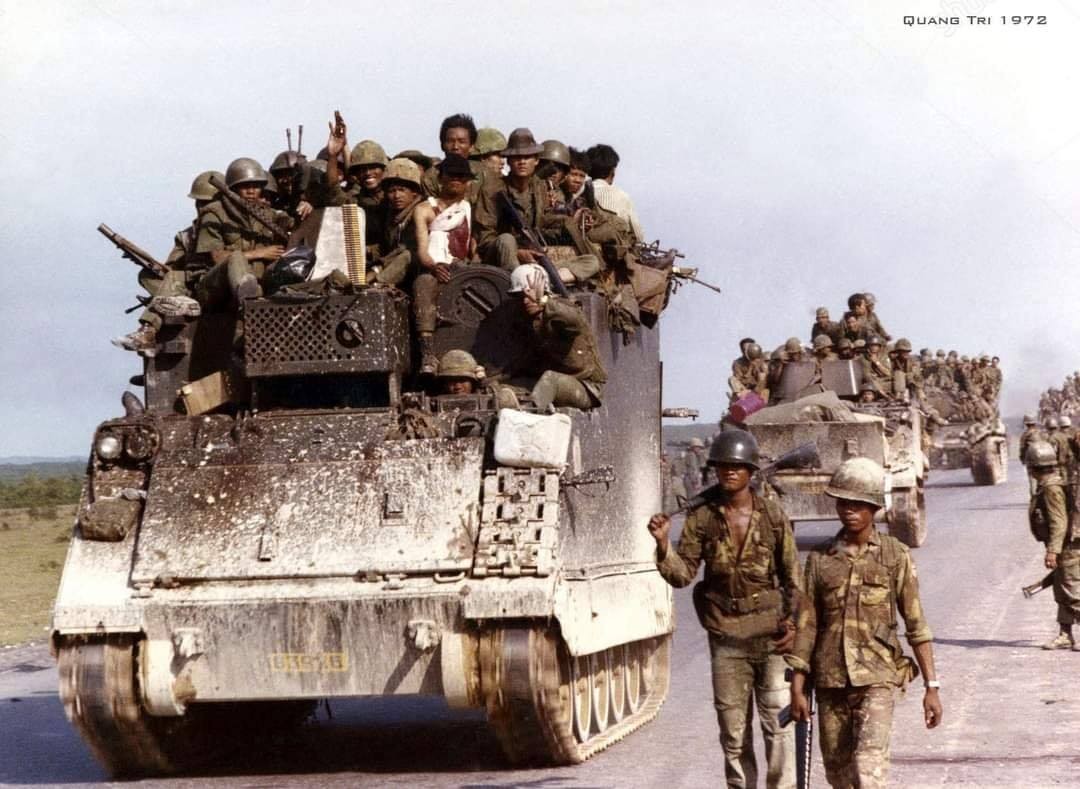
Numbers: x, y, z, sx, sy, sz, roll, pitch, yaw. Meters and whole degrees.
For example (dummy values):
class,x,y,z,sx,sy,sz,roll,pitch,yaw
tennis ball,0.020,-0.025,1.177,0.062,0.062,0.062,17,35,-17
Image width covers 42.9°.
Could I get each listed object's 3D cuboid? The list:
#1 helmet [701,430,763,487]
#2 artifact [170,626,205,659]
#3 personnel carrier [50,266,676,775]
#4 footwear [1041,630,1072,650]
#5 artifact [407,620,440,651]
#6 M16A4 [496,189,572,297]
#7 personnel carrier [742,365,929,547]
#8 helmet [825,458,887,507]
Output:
class,x,y,z,sx,sy,sz,roll,pitch,yaw
helmet,1.248,0.402,8.810,0.232,0.270,0.309,2,-18,35
artifact,-2.499,1.770,9.822,0.186,0.220,0.183,2,-6,-19
personnel carrier,-1.268,1.272,12.185,3.176,3.019,4.969,-2,-8,9
footwear,5.716,2.706,15.154,0.397,0.213,0.170,-2,-2,-5
artifact,-0.812,1.702,9.669,0.223,0.196,0.130,-2,0,-13
M16A4,-0.066,-1.278,11.915,0.163,1.013,0.375,-23,-8,-14
personnel carrier,5.461,1.061,24.498,2.636,2.793,4.895,0,4,19
helmet,1.988,0.555,8.568,0.498,0.296,0.389,6,1,-42
